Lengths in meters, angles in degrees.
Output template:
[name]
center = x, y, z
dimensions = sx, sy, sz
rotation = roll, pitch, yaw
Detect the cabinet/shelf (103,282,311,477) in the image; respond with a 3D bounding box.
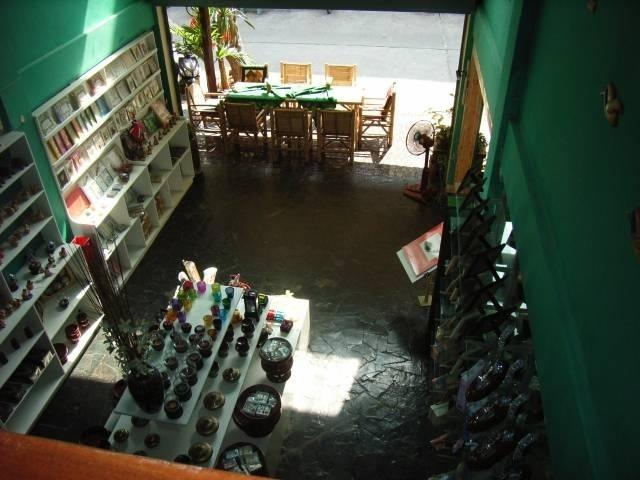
[cabinet/shelf]
center = -1.105, 1.414, 4.884
dimensions = 1.572, 1.494, 2.295
rotation = 5, 49, 10

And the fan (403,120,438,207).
[fan]
center = 1.853, -1.534, 8.392
dimensions = 0.556, 1.488, 1.124
rotation = 6, 26, 10
